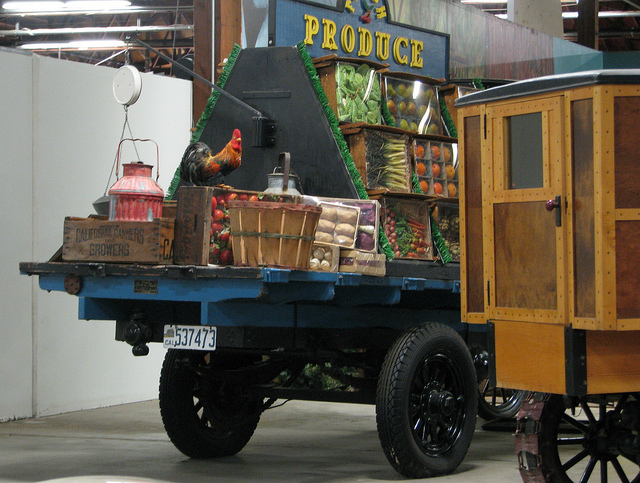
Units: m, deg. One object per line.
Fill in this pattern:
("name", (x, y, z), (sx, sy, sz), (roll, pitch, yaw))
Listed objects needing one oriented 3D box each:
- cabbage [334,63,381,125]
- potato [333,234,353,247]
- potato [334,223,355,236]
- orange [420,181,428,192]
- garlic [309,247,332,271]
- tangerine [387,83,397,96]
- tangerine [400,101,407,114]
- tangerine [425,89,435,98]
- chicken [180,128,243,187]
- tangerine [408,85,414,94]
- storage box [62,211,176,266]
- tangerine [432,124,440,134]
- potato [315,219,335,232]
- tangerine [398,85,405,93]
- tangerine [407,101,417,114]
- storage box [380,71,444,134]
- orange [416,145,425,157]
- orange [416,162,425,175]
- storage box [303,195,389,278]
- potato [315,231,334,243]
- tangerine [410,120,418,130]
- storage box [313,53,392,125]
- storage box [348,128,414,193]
("cabbage", (0.343, -1.440, 11.355), (0.190, 0.605, 0.547), (-2, -4, 37))
("potato", (0.206, 0.001, 10.277), (0.145, 0.090, 0.089), (22, -33, -1))
("potato", (0.221, -0.099, 10.350), (0.184, 0.116, 0.084), (0, 2, 0))
("orange", (1.032, -0.548, 11.584), (0.085, 0.128, 0.097), (-4, 12, 4))
("garlic", (0.003, 0.158, 10.141), (0.142, 0.240, 0.070), (5, -3, -10))
("tangerine", (0.707, -1.550, 11.765), (0.068, 0.152, 0.128), (-5, -7, 17))
("tangerine", (0.836, -1.367, 11.814), (0.081, 0.124, 0.092), (1, -3, -1))
("tangerine", (1.136, -1.542, 12.074), (0.077, 0.118, 0.087), (-2, 4, 8))
("chicken", (-1.002, -0.757, 10.543), (0.545, 0.510, 0.376), (0, 2, -5))
("tangerine", (0.920, -1.563, 11.916), (0.060, 0.085, 0.060), (4, -5, -43))
("storage box", (-1.736, 0.010, 10.177), (1.041, 0.524, 0.718), (0, -2, 11))
("tangerine", (1.181, -1.163, 12.026), (0.084, 0.124, 0.093), (3, 15, 22))
("potato", (0.048, -0.134, 10.351), (0.145, 0.093, 0.053), (13, -27, -8))
("tangerine", (0.822, -1.553, 11.832), (0.075, 0.108, 0.079), (0, -2, 35))
("tangerine", (0.933, -1.374, 11.886), (0.097, 0.143, 0.100), (-7, 6, -32))
("storage box", (0.959, -1.400, 11.916), (0.563, 0.640, 0.186), (5, -12, -33))
("orange", (0.990, -0.899, 11.591), (0.093, 0.134, 0.098), (9, -6, -26))
("orange", (0.999, -0.722, 11.568), (0.096, 0.142, 0.107), (-9, -4, -4))
("storage box", (0.254, 0.013, 10.351), (0.633, 0.791, 0.179), (3, -3, -26))
("potato", (0.038, -0.034, 10.282), (0.160, 0.098, 0.091), (0, 2, -1))
("tangerine", (0.947, -1.188, 11.849), (0.075, 0.113, 0.084), (1, -6, 17))
("storage box", (0.302, -1.496, 11.425), (0.562, 0.764, 0.745), (-5, -7, 42))
("storage box", (0.573, -0.748, 11.400), (0.701, 0.783, 0.508), (3, -2, -35))
